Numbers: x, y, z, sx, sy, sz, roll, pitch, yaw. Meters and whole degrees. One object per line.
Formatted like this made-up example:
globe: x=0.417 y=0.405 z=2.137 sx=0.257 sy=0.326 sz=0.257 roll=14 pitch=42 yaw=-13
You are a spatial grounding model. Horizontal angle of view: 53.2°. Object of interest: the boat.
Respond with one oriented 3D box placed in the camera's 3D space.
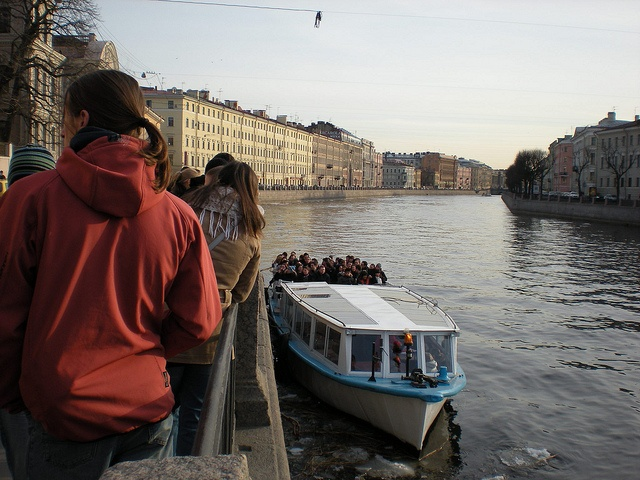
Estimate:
boat: x=0.743 y=1.944 z=10.689 sx=1.757 sy=1.677 sz=4.194 roll=0 pitch=8 yaw=-26
